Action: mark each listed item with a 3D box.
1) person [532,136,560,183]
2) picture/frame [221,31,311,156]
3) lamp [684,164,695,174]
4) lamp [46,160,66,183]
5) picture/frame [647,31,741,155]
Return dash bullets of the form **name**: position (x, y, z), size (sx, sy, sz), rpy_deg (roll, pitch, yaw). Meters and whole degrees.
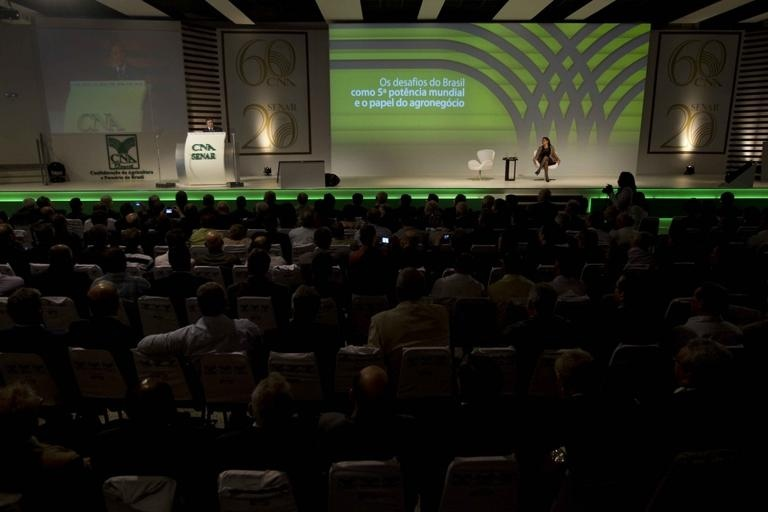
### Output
- **person**: position (3.730, -2.278, 13.869), size (0.517, 1.037, 0.712), rpy_deg (1, 1, 41)
- **picture/frame**: position (-2.905, -4.096, 15.042), size (2.117, 2.992, 0.162), rpy_deg (-1, 9, 0)
- **lamp**: position (7.860, -2.218, 15.309), size (0.190, 0.258, 0.254), rpy_deg (-4, 22, -2)
- **lamp**: position (-7.114, -1.878, 13.243), size (0.370, 0.480, 0.480), rpy_deg (-10, 23, -43)
- **picture/frame**: position (7.800, -4.093, 15.030), size (2.144, 2.989, 0.206), rpy_deg (-2, 9, -4)
